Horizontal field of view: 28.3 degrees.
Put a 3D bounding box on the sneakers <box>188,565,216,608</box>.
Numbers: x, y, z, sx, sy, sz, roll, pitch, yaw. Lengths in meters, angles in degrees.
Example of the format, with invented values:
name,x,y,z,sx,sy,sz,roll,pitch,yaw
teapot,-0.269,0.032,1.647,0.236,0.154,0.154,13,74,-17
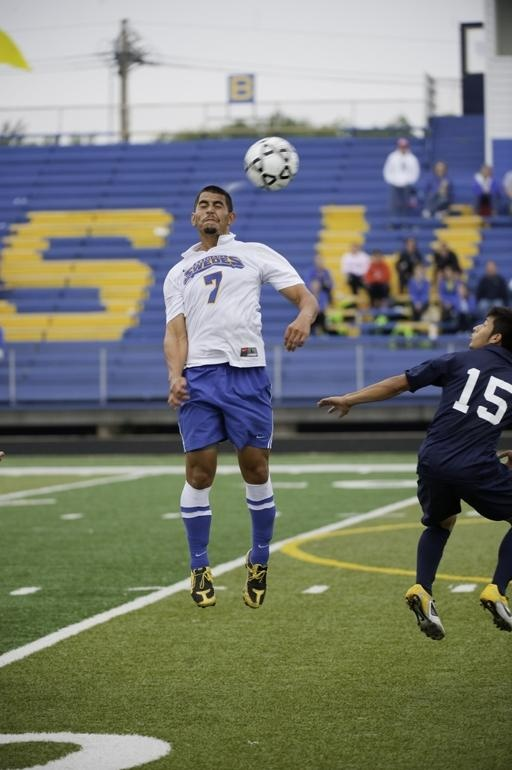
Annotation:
name,x,y,z,sx,sy,sz,roll,pitch,yaw
sneakers,-0.254,0.936,4.784,0.098,0.093,0.226,-3,7,-8

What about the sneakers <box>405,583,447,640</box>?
name,x,y,z,sx,sy,sz,roll,pitch,yaw
sneakers,0.681,0.927,4.178,0.161,0.093,0.299,-7,-23,8

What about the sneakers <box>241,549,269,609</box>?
name,x,y,z,sx,sy,sz,roll,pitch,yaw
sneakers,0.022,0.942,4.957,0.109,0.274,0.139,5,-24,-19

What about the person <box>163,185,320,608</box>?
name,x,y,z,sx,sy,sz,roll,pitch,yaw
person,-0.086,0.021,4.995,0.708,1.960,0.821,-1,13,-5

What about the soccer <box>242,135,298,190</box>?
name,x,y,z,sx,sy,sz,roll,pitch,yaw
soccer,0.093,-1.395,6.375,0.314,0.321,0.389,0,12,0
